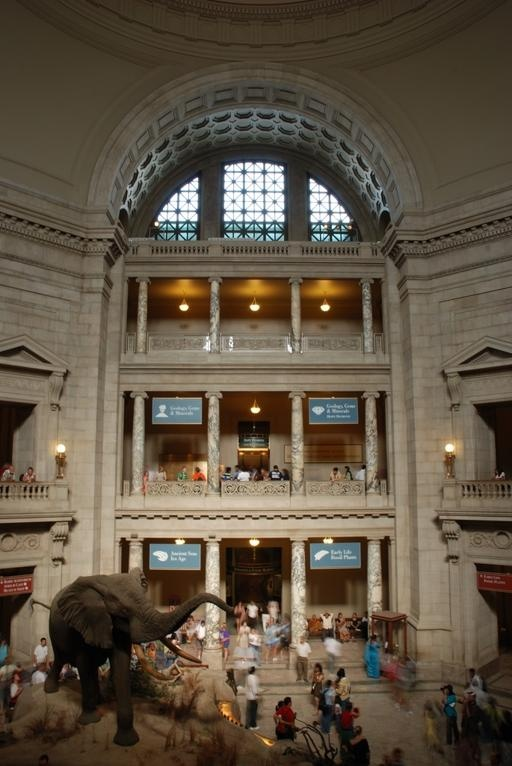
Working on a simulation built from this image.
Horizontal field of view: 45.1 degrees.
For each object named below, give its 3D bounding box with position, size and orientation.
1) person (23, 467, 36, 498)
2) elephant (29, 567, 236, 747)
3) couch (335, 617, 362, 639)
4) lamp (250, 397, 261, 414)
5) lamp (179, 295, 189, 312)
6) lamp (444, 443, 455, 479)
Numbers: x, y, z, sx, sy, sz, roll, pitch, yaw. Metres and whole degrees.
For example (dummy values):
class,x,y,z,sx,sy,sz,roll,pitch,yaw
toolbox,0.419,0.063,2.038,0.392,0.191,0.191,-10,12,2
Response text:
class,x,y,z,sx,sy,sz,roll,pitch,yaw
person,-5.776,2.532,15.710,0.342,0.720,0.952,12,-9,-18
elephant,-2.301,3.904,9.188,3.741,2.214,1.237,2,-2,39
couch,2.887,7.704,19.271,0.753,0.749,0.409,1,-14,-6
lamp,-0.049,0.853,21.376,0.439,0.647,0.445,5,-28,-7
lamp,-2.550,-2.873,21.871,0.366,0.560,0.371,2,-32,-1
lamp,5.205,2.104,16.611,0.325,0.990,0.786,6,-9,18
